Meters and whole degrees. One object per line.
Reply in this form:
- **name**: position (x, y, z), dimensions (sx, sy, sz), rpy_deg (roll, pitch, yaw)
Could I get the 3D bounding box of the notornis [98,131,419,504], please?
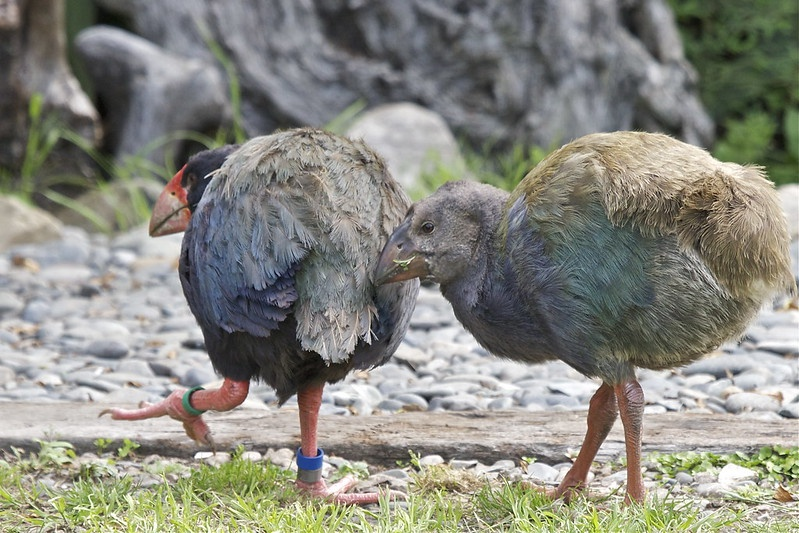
- **notornis**: position (-0.576, 0.244, 5.988), dimensions (1.203, 1.867, 0.591), rpy_deg (9, 16, 10)
